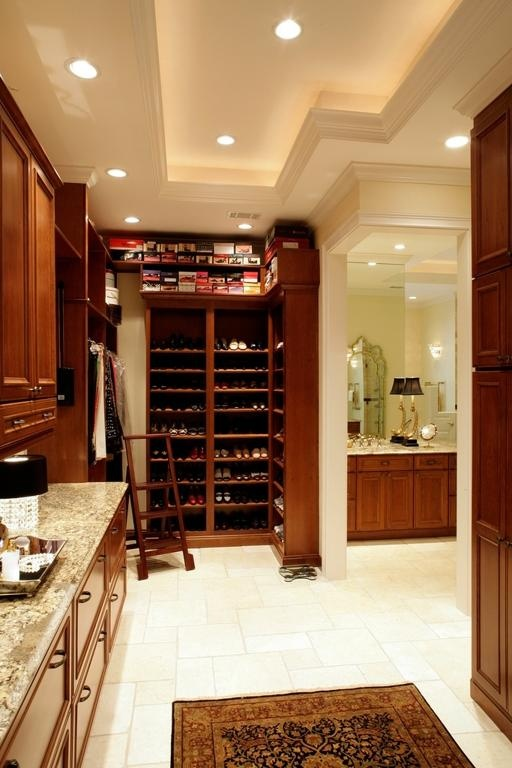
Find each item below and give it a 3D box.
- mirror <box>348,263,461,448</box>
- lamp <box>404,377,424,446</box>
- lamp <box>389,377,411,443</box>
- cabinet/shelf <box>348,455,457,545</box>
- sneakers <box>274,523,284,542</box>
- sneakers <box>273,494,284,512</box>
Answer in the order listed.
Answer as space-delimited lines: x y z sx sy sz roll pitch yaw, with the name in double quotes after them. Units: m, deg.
1.501 -0.274 5.366 1.603 1.914 0.077 0 3 -7 "mirror"
1.615 0.268 5.442 0.151 0.638 1.175 0 -2 16 "lamp"
1.404 0.258 5.138 0.175 0.659 0.183 2 2 -7 "lamp"
1.355 0.913 4.713 0.934 0.790 0.361 -4 13 5 "cabinet/shelf"
0.185 1.182 4.198 0.090 0.043 0.132 1 3 3 "sneakers"
0.190 0.963 4.261 0.036 0.136 0.099 -9 -34 30 "sneakers"
